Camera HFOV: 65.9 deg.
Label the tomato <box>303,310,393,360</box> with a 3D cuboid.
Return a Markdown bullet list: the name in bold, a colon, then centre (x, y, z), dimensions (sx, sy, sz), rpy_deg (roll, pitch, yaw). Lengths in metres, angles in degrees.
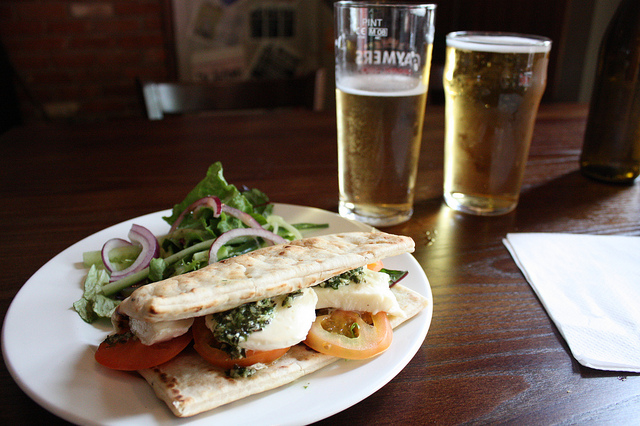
- **tomato**: centre (0.078, 0.306, 1.263), dimensions (0.214, 0.049, 0.160), rpy_deg (10, 37, 14)

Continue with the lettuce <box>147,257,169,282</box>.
- **lettuce**: centre (-0.490, 0.167, 1.469), dimensions (0.054, 0.064, 0.024), rpy_deg (6, -10, -14)

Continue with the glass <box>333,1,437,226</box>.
- **glass**: centre (0.180, -0.309, 1.632), dimensions (0.313, 0.687, 0.333), rpy_deg (6, 37, 9)

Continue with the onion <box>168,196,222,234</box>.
- **onion**: centre (-0.414, 0.004, 1.593), dimensions (0.163, 0.114, 0.042), rpy_deg (-28, -4, 3)

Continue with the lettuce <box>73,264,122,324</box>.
- **lettuce**: centre (-0.619, 0.220, 1.360), dimensions (0.121, 0.030, 0.142), rpy_deg (4, 40, -27)
